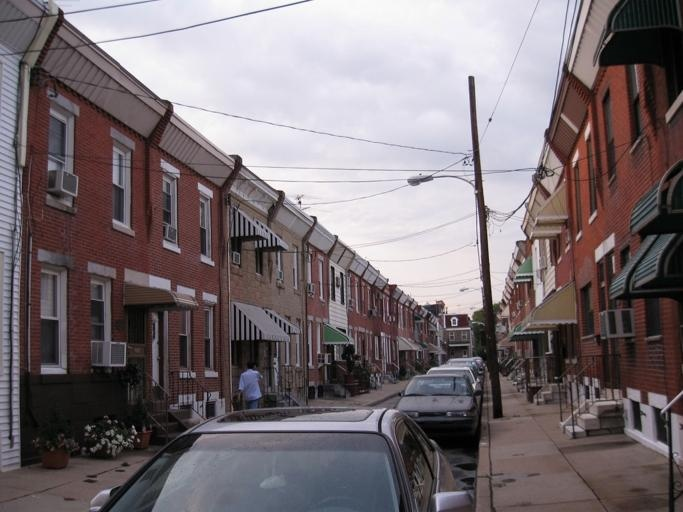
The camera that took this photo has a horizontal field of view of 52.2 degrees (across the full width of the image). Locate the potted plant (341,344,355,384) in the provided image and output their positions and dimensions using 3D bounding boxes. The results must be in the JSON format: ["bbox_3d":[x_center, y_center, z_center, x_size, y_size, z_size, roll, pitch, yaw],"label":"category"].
[{"bbox_3d":[0.394,5.700,37.182,0.634,2.142,1.842,-6,-14,-1],"label":"potted plant"}]

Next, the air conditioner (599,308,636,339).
[{"bbox_3d":[5.952,1.514,15.244,0.720,0.772,0.569,2,-13,-11],"label":"air conditioner"}]

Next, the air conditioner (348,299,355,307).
[{"bbox_3d":[0.656,2.912,42.698,0.315,0.464,0.588,-5,-8,18],"label":"air conditioner"}]

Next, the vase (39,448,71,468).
[{"bbox_3d":[-5.655,4.011,13.777,0.392,0.339,0.432,-2,-18,-2],"label":"vase"}]

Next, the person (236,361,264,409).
[{"bbox_3d":[-2.566,3.823,19.566,0.582,1.760,0.466,-1,9,-9],"label":"person"}]

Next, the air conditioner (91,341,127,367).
[{"bbox_3d":[-5.374,2.307,16.279,0.474,0.840,0.900,-7,-12,29],"label":"air conditioner"}]

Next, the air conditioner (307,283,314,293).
[{"bbox_3d":[-1.457,1.480,32.832,0.180,0.494,0.723,-8,-15,8],"label":"air conditioner"}]

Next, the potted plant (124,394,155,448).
[{"bbox_3d":[-4.802,3.960,16.682,0.688,1.290,0.770,-3,-10,33],"label":"potted plant"}]
